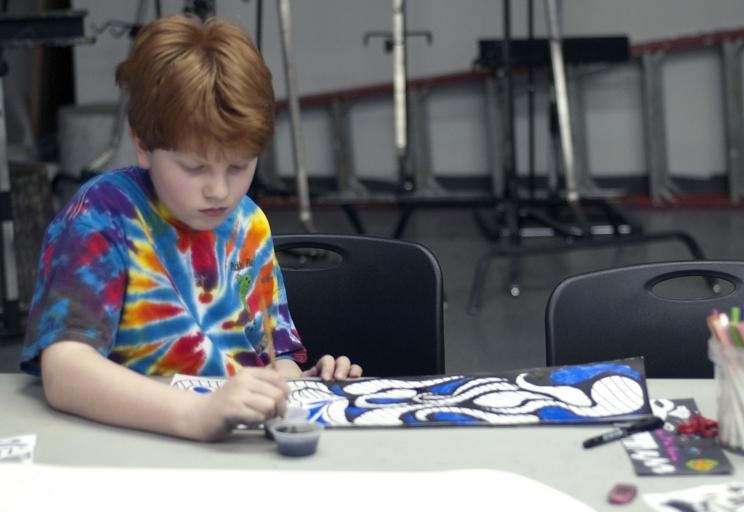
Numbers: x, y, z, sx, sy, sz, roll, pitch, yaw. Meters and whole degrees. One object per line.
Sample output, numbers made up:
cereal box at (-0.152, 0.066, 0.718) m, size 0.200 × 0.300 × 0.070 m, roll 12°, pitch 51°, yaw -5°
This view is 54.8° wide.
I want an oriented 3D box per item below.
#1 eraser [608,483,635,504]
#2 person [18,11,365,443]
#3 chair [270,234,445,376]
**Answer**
eraser at (0.305, 0.291, 0.876) m, size 0.018 × 0.006 × 0.026 m, roll 2°, pitch 20°, yaw 19°
person at (-0.274, 0.003, 1.380) m, size 0.609 × 0.777 × 0.689 m, roll 6°, pitch 6°, yaw 36°
chair at (-0.006, 0.074, 1.614) m, size 0.278 × 0.480 × 0.323 m, roll -1°, pitch 12°, yaw 4°
